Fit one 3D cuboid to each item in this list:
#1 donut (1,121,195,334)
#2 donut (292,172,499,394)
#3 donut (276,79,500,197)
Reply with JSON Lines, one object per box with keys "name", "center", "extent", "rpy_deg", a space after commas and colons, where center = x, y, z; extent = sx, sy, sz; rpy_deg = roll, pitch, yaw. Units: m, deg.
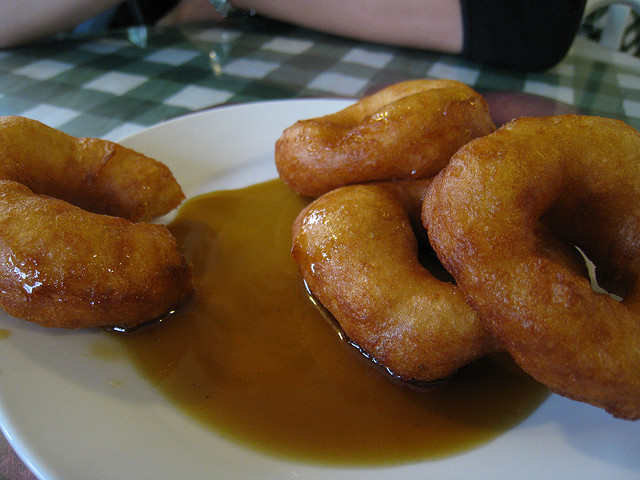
{"name": "donut", "center": [-0.400, -0.054, 1.108], "extent": [0.363, 0.130, 0.356], "rpy_deg": [-5, 62, -41]}
{"name": "donut", "center": [0.147, 0.064, 1.200], "extent": [0.443, 0.155, 0.414], "rpy_deg": [29, 43, -8]}
{"name": "donut", "center": [0.125, -0.192, 1.231], "extent": [0.320, 0.234, 0.123], "rpy_deg": [-15, 94, -6]}
